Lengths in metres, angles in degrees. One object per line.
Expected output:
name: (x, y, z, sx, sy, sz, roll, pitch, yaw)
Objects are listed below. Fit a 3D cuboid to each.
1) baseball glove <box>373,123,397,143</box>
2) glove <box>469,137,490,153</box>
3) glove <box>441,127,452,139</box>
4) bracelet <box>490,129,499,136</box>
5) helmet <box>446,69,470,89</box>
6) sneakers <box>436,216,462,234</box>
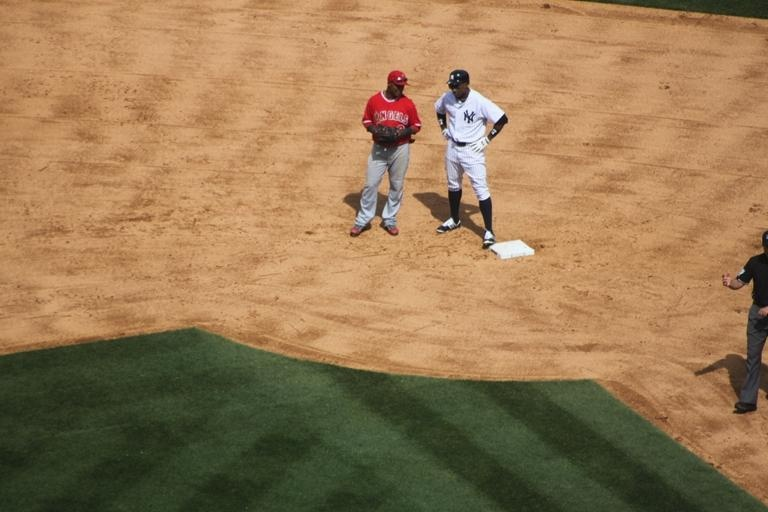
baseball glove: (0.039, -2.135, 16.553, 0.277, 0.382, 0.165, -48, -43, -31)
glove: (1.728, -1.962, 16.717, 0.357, 0.131, 0.231, -29, -47, 13)
glove: (1.140, -2.181, 16.811, 0.086, 0.188, 0.178, -31, -61, -35)
bracelet: (1.949, -2.150, 16.525, 0.140, 0.104, 0.042, -55, -23, -19)
helmet: (1.296, -3.034, 16.472, 0.548, 0.372, 0.277, 0, -48, -3)
sneakers: (1.211, -0.550, 17.494, 0.578, 0.193, 0.227, -16, -55, -20)
